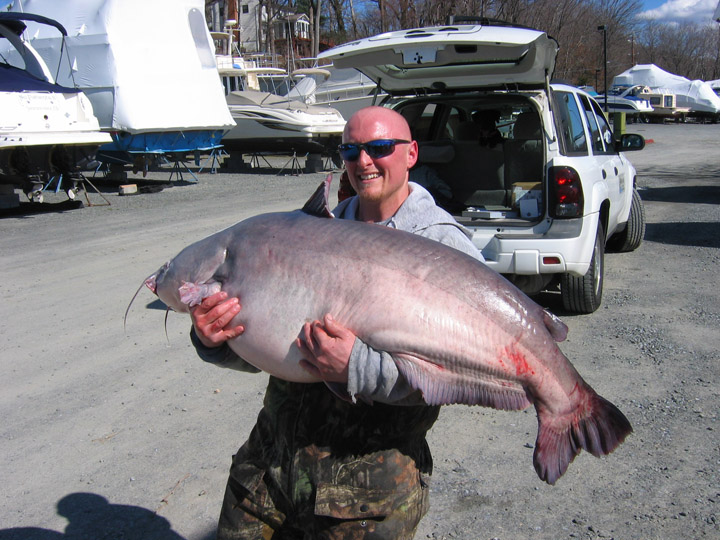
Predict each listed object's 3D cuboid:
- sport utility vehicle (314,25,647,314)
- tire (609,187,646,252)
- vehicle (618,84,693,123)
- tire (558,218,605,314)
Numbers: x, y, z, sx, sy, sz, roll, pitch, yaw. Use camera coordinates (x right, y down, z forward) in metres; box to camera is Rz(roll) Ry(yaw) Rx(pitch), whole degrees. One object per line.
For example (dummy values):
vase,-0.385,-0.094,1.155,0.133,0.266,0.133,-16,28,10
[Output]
sport utility vehicle,1.895,-1.559,6.197,2.132,2.379,4.222,4,23,25
tire,4.056,-0.703,7.689,0.311,1.002,0.985,4,-22,12
vehicle,24.891,-13.393,41.569,5.728,2.776,3.186,3,4,25
tire,2.081,-0.036,4.812,0.233,0.779,0.750,3,-16,28
